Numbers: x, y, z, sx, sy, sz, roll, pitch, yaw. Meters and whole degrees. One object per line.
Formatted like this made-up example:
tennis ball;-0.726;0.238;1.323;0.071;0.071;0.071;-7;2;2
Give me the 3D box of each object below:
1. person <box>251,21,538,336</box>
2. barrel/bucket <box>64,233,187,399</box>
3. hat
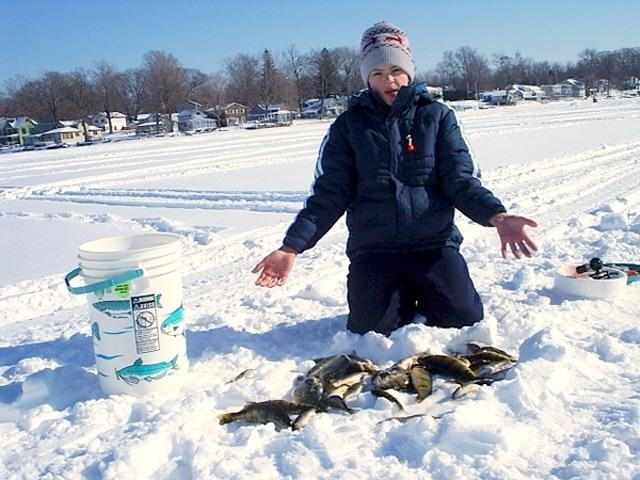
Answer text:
person;0.548;-0.448;3.635;1.480;2.155;0.847;-2;15;8
barrel/bucket;-1.157;0.480;3.220;0.691;0.892;0.672;-3;1;0
hat;0.492;-1.449;3.872;0.364;0.411;0.460;-4;2;9
